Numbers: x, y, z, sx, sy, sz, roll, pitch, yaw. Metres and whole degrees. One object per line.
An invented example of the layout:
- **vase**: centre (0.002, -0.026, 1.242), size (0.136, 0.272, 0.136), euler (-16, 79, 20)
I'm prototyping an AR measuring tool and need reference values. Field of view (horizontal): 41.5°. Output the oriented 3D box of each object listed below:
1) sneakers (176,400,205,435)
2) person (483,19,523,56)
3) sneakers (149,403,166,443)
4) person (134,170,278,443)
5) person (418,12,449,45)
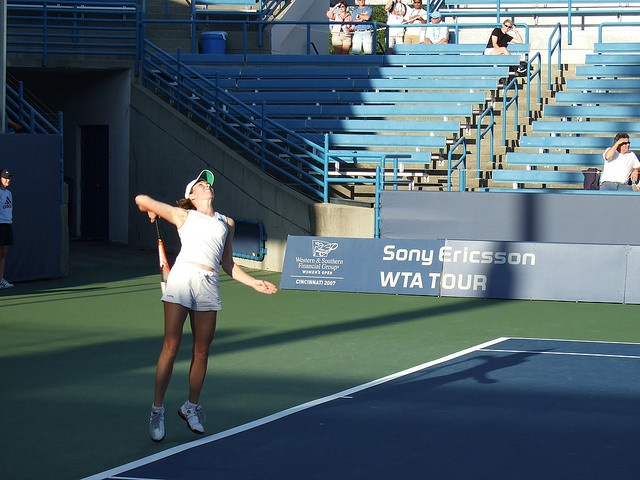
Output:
- **sneakers**: centre (-1.524, 2.099, 10.018), size (0.183, 0.243, 0.516), euler (8, 29, -50)
- **person**: centre (5.286, -5.816, 24.259), size (1.156, 0.954, 0.793), euler (-8, 13, -36)
- **sneakers**: centre (-1.924, 2.126, 9.836), size (0.201, 0.411, 0.209), euler (0, 10, 2)
- **person**: centre (-1.464, 0.741, 9.961), size (1.252, 3.077, 0.591), euler (-4, 11, -23)
- **person**: centre (3.671, -6.737, 26.742), size (0.802, 1.095, 2.443), euler (1, 11, 8)
